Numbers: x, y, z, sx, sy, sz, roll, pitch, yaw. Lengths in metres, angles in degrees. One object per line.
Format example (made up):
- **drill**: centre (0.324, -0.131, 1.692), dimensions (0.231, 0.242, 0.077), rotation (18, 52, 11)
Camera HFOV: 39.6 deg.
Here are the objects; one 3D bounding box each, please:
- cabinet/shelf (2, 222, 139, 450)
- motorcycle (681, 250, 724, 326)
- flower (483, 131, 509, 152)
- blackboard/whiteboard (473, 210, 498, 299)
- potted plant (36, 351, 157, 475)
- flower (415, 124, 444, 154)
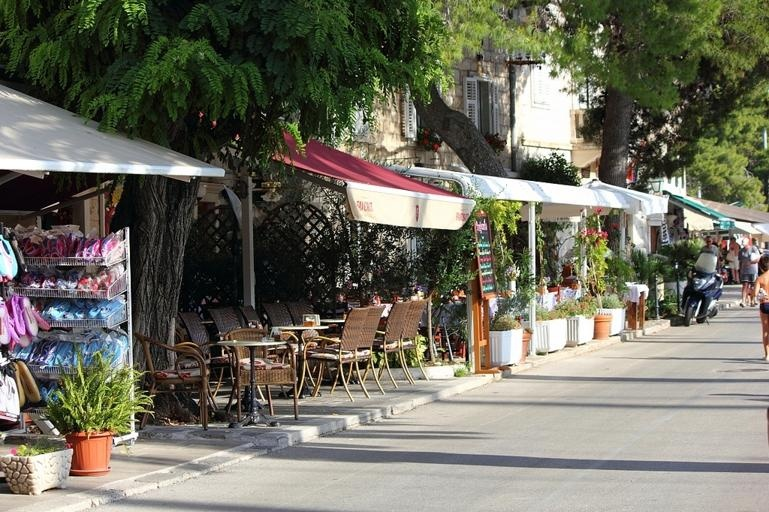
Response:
- **cabinet/shelf**: centre (-3.944, 1.082, 13.224), dimensions (2.330, 3.703, 1.200), rotation (1, 4, 26)
- **motorcycle**: centre (8.097, 0.847, 27.763), dimensions (0.709, 1.418, 2.348), rotation (18, 1, 18)
- **flower**: centre (3.168, -3.232, 30.514), dimensions (0.442, 0.573, 1.491), rotation (1, 4, 20)
- **blackboard/whiteboard**: centre (1.761, 0.016, 18.972), dimensions (0.091, 1.620, 0.775), rotation (-7, -2, 25)
- **potted plant**: centre (-3.440, 1.875, 12.635), dimensions (1.055, 1.379, 0.565), rotation (-2, 4, -24)
- **flower**: centre (1.214, -3.087, 28.262), dimensions (0.558, 0.481, 0.602), rotation (-2, -2, 43)
